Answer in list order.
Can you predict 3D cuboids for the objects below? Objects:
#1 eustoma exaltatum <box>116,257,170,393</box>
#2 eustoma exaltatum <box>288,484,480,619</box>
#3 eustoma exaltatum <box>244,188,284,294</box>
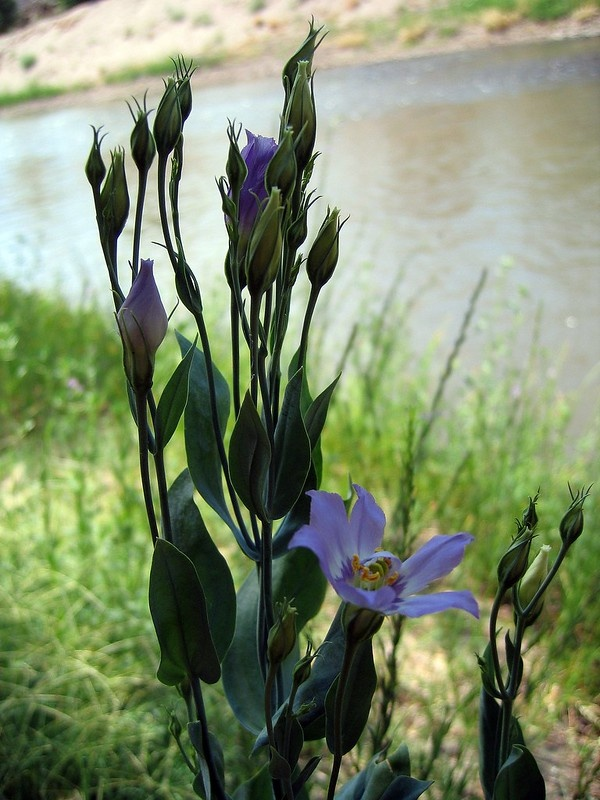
[{"bbox_3d":[-0.111,-0.060,0.678,0.035,0.089,0.078,2,24,11],"label":"eustoma exaltatum"},{"bbox_3d":[0.062,0.103,0.643,0.121,0.078,0.110,2,25,9],"label":"eustoma exaltatum"},{"bbox_3d":[-0.025,-0.114,0.652,0.026,0.096,0.028,-2,35,-10],"label":"eustoma exaltatum"}]
